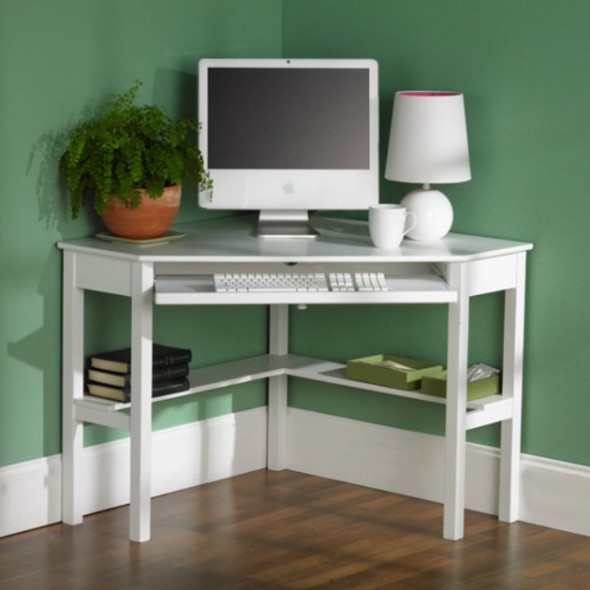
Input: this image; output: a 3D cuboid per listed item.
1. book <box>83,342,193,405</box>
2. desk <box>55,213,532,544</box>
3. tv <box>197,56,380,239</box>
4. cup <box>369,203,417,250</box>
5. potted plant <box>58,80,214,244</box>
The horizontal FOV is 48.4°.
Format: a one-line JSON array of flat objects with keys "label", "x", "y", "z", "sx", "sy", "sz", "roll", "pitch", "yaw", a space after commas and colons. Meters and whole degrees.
[{"label": "book", "x": -0.471, "y": 0.194, "z": 1.911, "sx": 0.164, "sy": 0.099, "sz": 0.216, "roll": 5, "pitch": 5, "yaw": 36}, {"label": "desk", "x": 0.040, "y": 0.166, "z": 1.947, "sx": 1.042, "sy": 0.817, "sz": 1.111, "roll": 6, "pitch": 8, "yaw": 41}, {"label": "tv", "x": -0.019, "y": -0.475, "z": 2.036, "sx": 0.627, "sy": 0.566, "sz": 0.195, "roll": 0, "pitch": 2, "yaw": -3}, {"label": "cup", "x": 0.276, "y": -0.189, "z": 1.820, "sx": 0.141, "sy": 0.103, "sz": 0.090, "roll": -2, "pitch": 1, "yaw": 5}, {"label": "potted plant", "x": -0.385, "y": -0.350, "z": 1.916, "sx": 0.445, "sy": 0.412, "sz": 0.441, "roll": 0, "pitch": 0, "yaw": 3}]
